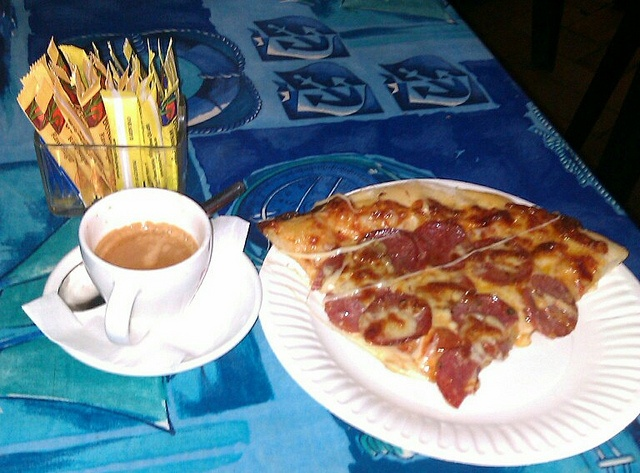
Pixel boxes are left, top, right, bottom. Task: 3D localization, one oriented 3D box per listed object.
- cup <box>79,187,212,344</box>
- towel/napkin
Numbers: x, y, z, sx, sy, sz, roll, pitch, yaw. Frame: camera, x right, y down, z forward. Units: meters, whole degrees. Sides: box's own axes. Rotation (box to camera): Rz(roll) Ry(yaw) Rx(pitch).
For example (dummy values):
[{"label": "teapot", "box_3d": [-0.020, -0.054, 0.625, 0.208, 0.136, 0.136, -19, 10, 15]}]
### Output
[{"label": "cup", "box_3d": [-0.240, 0.049, 0.795, 0.156, 0.139, 0.220, 11, 50, -4]}, {"label": "towel/napkin", "box_3d": [-0.346, 0.061, 0.905, 0.267, 0.366, 0.065, -33, 94, -36]}]
